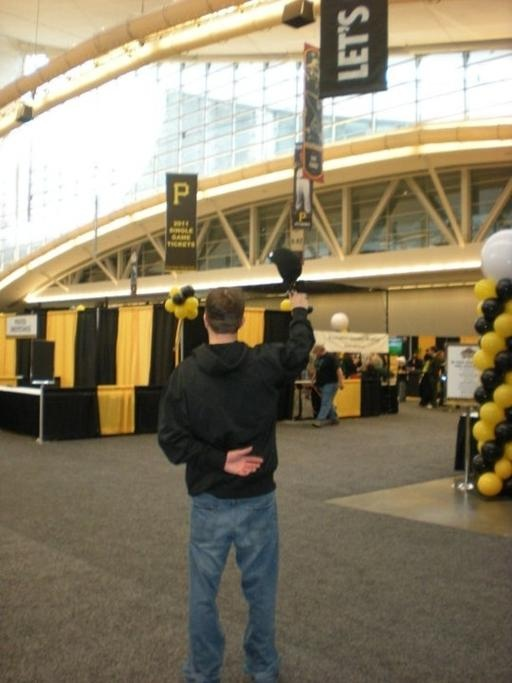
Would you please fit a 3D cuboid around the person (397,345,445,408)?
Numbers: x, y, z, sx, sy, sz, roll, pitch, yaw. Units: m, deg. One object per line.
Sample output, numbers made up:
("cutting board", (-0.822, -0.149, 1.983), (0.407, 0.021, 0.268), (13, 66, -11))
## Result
("person", (4.805, 1.065, 17.896), (0.468, 1.685, 1.509), (4, -6, -26))
